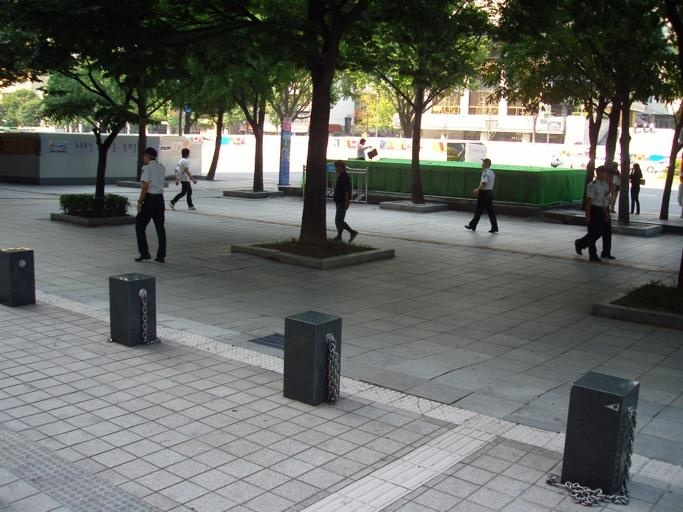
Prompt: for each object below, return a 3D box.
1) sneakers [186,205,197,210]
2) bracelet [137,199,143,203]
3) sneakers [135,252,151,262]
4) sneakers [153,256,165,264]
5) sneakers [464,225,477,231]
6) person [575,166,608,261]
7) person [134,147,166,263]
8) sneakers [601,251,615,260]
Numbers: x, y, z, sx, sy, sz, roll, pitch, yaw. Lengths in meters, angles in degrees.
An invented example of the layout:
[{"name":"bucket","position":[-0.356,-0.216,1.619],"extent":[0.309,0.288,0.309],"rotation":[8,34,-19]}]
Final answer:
[{"name":"sneakers","position":[-5.728,-1.858,21.712],"extent":[0.358,0.214,0.124],"rotation":[-17,32,-17]},{"name":"bracelet","position":[-4.242,-1.174,12.031],"extent":[0.085,0.092,0.215],"rotation":[-2,9,-18]},{"name":"sneakers","position":[-4.341,0.026,12.520],"extent":[0.379,0.155,0.127],"rotation":[2,7,3]},{"name":"sneakers","position":[-3.994,0.065,12.483],"extent":[0.251,0.095,0.092],"rotation":[12,14,39]},{"name":"sneakers","position":[4.268,-0.951,18.721],"extent":[0.137,0.232,0.364],"rotation":[-11,25,-32]},{"name":"person","position":[6.122,-0.980,13.612],"extent":[0.484,2.334,0.887],"rotation":[6,10,27]},{"name":"person","position":[-4.198,-1.139,12.452],"extent":[0.663,2.493,1.319],"rotation":[-2,9,-17]},{"name":"sneakers","position":[6.710,-0.004,14.323],"extent":[0.458,0.174,0.143],"rotation":[0,14,-22]}]
